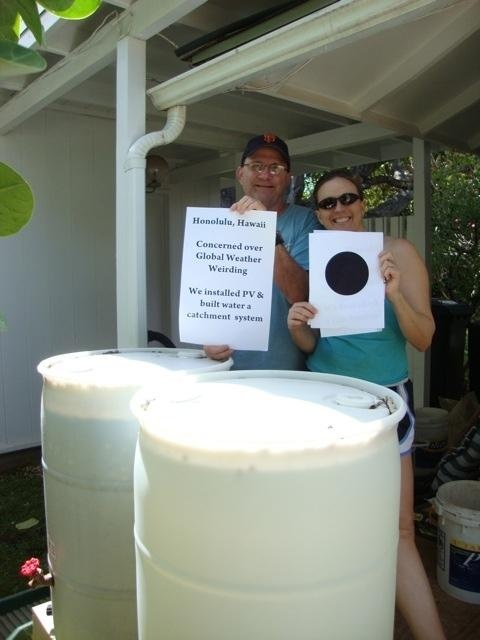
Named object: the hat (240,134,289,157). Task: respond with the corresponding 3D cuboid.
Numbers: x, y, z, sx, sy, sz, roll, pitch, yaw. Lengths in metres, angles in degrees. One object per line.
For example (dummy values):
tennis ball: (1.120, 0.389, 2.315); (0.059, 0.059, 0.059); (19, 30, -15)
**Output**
hat: (0.102, -0.683, 2.171); (0.118, 0.115, 0.150); (4, 13, -4)
